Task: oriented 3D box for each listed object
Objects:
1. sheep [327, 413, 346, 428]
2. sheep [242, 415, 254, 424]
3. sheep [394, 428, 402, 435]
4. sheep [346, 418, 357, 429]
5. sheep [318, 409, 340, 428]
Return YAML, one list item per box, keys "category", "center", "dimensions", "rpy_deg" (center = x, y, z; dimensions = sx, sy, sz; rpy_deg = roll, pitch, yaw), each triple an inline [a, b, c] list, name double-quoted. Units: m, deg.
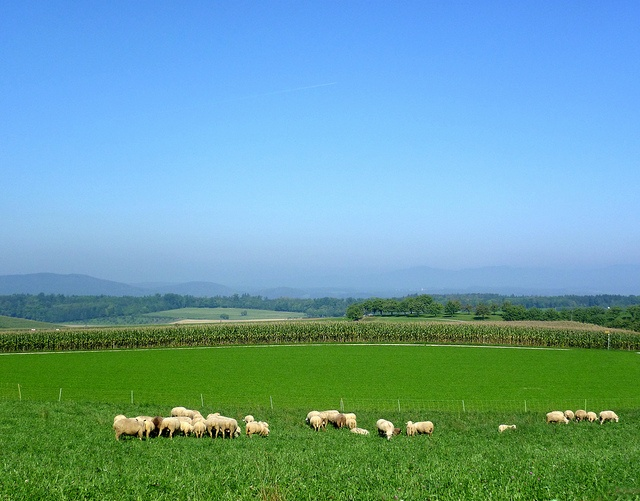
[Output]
- category: "sheep"
  center: [1.324, 13.036, 51.365]
  dimensions: [0.591, 0.977, 1.540]
  rpy_deg: [2, -3, -44]
- category: "sheep"
  center: [-5.428, 12.808, 50.739]
  dimensions: [0.781, 0.589, 1.691]
  rpy_deg: [1, -3, -9]
- category: "sheep"
  center: [5.737, 13.453, 49.755]
  dimensions: [0.533, 0.384, 0.280]
  rpy_deg: [3, 0, -30]
- category: "sheep"
  center: [2.398, 13.102, 50.640]
  dimensions: [0.778, 0.726, 0.849]
  rpy_deg: [0, -2, -3]
- category: "sheep"
  center: [0.405, 12.911, 51.919]
  dimensions: [2.128, 1.264, 0.642]
  rpy_deg: [1, -3, -10]
